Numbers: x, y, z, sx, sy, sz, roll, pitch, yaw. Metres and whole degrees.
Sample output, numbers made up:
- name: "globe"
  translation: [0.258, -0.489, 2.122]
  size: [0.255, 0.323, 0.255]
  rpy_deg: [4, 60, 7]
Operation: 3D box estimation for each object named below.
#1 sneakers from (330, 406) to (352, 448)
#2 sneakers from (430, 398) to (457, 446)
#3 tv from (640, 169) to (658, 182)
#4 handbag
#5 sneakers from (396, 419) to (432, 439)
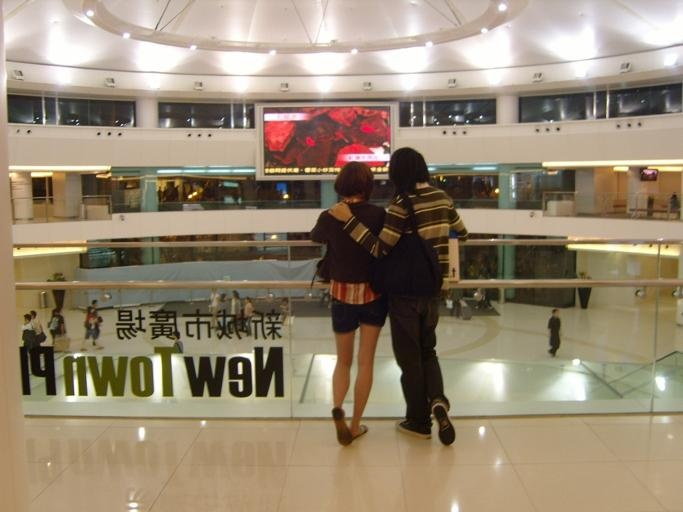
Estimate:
- name: "sneakers"
  translation: [0.000, 1.133, 3.917]
  size: [0.115, 0.283, 0.102]
  rpy_deg: [-14, 5, 7]
- name: "sneakers"
  translation: [0.673, 1.091, 3.920]
  size: [0.127, 0.332, 0.128]
  rpy_deg: [-24, -19, 13]
- name: "tv"
  translation: [10.997, -2.935, 20.852]
  size: [0.459, 0.477, 0.734]
  rpy_deg: [-3, 4, -10]
- name: "handbag"
  translation: [0.444, 0.086, 4.115]
  size: [0.487, 0.500, 0.322]
  rpy_deg: [1, -3, 2]
- name: "sneakers"
  translation: [0.500, 1.183, 4.019]
  size: [0.092, 0.092, 0.229]
  rpy_deg: [8, 1, -42]
